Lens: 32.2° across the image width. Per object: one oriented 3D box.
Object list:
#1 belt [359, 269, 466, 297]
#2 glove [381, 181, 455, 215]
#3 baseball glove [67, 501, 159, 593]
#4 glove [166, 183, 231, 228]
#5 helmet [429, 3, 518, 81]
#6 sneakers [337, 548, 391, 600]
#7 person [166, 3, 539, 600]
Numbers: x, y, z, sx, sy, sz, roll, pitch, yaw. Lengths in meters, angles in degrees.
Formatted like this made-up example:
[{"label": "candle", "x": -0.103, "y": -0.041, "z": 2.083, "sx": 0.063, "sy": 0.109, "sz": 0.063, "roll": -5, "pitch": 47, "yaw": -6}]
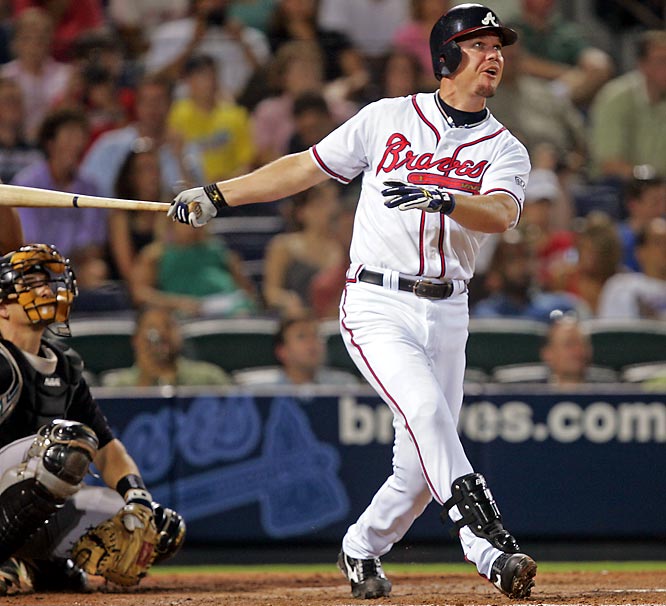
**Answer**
[{"label": "belt", "x": 0.319, "y": -0.077, "z": 4.706, "sx": 0.451, "sy": 0.141, "sz": 0.148, "roll": -3, "pitch": 8, "yaw": 2}, {"label": "glove", "x": 0.335, "y": -0.399, "z": 4.444, "sx": 0.237, "sy": 0.064, "sz": 0.127, "roll": 1, "pitch": 26, "yaw": -3}, {"label": "baseball glove", "x": -0.888, "y": 1.019, "z": 4.742, "sx": 0.358, "sy": 0.361, "sz": 0.130, "roll": -6, "pitch": 10, "yaw": -12}, {"label": "glove", "x": -0.558, "y": -0.409, "z": 4.992, "sx": 0.265, "sy": 0.167, "sz": 0.083, "roll": -21, "pitch": -21, "yaw": -8}, {"label": "helmet", "x": 0.550, "y": -1.080, "z": 4.879, "sx": 0.427, "sy": 0.257, "sz": 0.283, "roll": -11, "pitch": -10, "yaw": 35}, {"label": "sneakers", "x": 0.130, "y": 1.146, "z": 4.847, "sx": 0.124, "sy": 0.109, "sz": 0.290, "roll": 1, "pitch": 11, "yaw": -31}, {"label": "person", "x": 0.364, "y": 0.007, "z": 4.781, "sx": 1.287, "sy": 2.443, "sz": 0.744, "roll": 3, "pitch": 13, "yaw": 40}]
